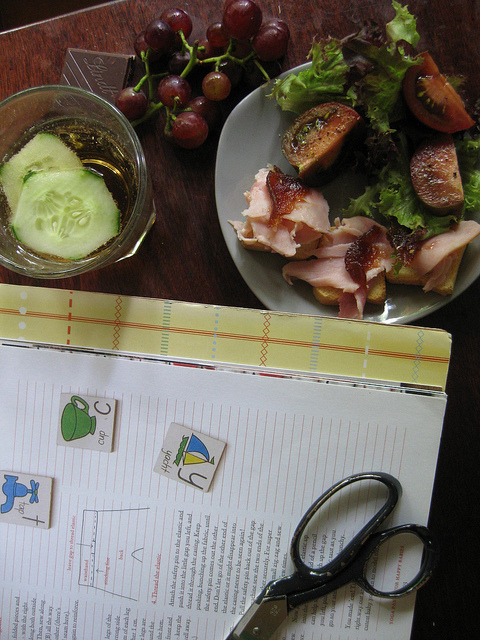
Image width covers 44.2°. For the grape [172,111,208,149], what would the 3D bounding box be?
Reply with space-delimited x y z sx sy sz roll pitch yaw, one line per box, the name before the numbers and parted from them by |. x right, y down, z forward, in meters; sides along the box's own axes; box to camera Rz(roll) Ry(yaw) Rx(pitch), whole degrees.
grape | -0.049 -0.185 0.580 0.035 0.033 0.040 2 103 5

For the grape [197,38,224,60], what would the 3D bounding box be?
grape | -0.030 -0.271 0.598 0.022 0.022 0.022 6 104 10

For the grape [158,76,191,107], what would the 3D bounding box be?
grape | -0.065 -0.226 0.581 0.029 0.029 0.035 0 91 7

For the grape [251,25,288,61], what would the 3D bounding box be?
grape | 0.029 -0.269 0.573 0.035 0.027 0.026 -25 41 -17

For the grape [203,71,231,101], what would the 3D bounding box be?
grape | -0.022 -0.227 0.580 0.025 0.026 0.030 2 99 7

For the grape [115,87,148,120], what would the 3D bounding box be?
grape | -0.111 -0.215 0.605 0.032 0.038 0.032 5 34 -14

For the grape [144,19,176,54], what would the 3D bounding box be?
grape | -0.078 -0.272 0.567 0.031 0.036 0.029 5 31 5

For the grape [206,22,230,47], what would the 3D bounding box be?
grape | -0.022 -0.277 0.580 0.022 0.026 0.023 4 19 17

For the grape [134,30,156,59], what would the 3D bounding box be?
grape | -0.099 -0.276 0.595 0.021 0.027 0.048 -2 20 -1

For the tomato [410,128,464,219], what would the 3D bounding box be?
tomato | 0.190 -0.146 0.578 0.042 0.018 0.082 -7 73 2
